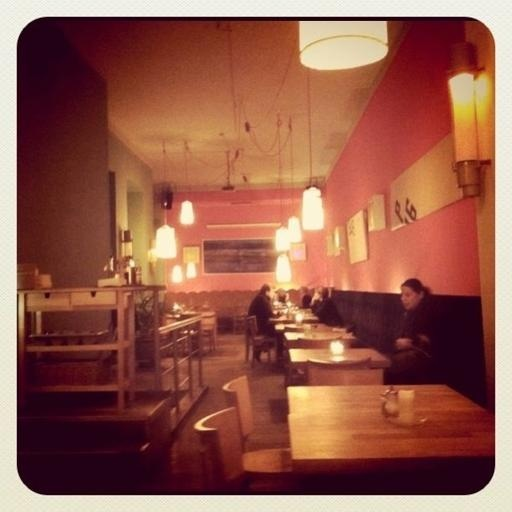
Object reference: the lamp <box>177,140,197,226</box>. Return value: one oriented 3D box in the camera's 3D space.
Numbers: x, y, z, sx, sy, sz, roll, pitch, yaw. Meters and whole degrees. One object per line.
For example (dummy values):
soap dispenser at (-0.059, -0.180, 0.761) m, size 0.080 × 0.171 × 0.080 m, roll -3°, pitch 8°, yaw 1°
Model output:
lamp at (-0.897, -0.940, 5.981) m, size 0.171 × 1.037 × 0.188 m, roll 0°, pitch 1°, yaw 28°

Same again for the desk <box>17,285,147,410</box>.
desk at (-1.393, 0.733, 3.618) m, size 0.845 × 0.992 × 0.401 m, roll -1°, pitch -6°, yaw 3°

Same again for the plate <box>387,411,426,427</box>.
plate at (0.674, 0.708, 2.012) m, size 0.189 × 0.048 × 0.095 m, roll 3°, pitch -1°, yaw -20°

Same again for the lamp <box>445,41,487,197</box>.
lamp at (1.133, -0.724, 2.468) m, size 0.223 × 0.676 × 0.114 m, roll 2°, pitch 0°, yaw 33°
